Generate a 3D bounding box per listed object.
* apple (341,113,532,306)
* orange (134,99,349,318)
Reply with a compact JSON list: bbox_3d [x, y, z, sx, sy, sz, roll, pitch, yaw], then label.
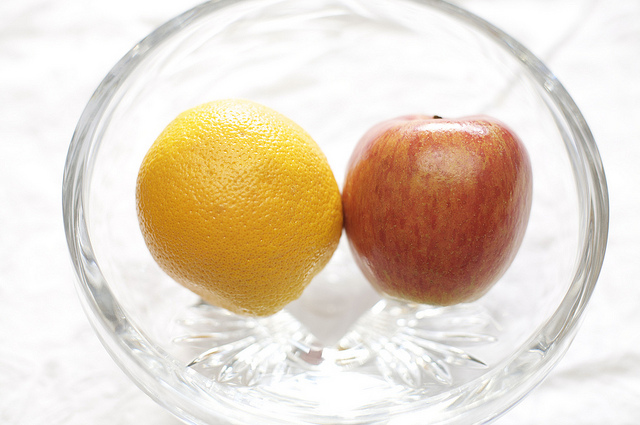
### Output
[{"bbox_3d":[0.184,-0.002,0.925,0.298,0.168,0.285,-2,77,1],"label":"apple"},{"bbox_3d":[-0.123,-0.013,0.915,0.306,0.165,0.303,33,80,8],"label":"orange"}]
